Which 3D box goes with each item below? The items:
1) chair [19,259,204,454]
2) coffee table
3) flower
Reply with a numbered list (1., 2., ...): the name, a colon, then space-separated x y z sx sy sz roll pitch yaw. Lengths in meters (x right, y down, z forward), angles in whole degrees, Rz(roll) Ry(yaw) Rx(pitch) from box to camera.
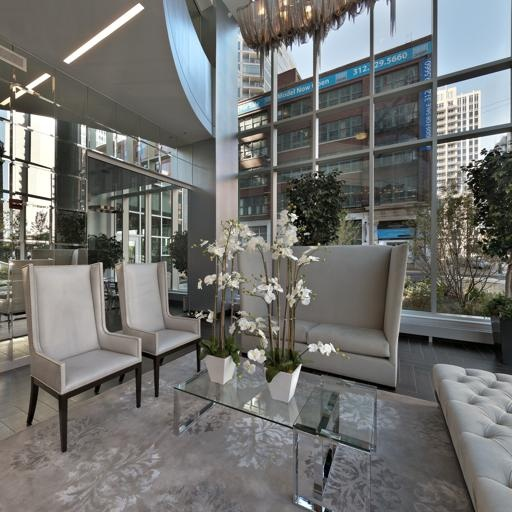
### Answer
1. chair: -1.302 0.768 4.059 1.075 2.391 1.197 -2 -1 38
2. coffee table: 0.248 1.311 2.989 1.335 0.648 0.711 -1 4 29
3. flower: 0.209 0.418 4.209 1.559 2.367 0.952 -1 -7 15
